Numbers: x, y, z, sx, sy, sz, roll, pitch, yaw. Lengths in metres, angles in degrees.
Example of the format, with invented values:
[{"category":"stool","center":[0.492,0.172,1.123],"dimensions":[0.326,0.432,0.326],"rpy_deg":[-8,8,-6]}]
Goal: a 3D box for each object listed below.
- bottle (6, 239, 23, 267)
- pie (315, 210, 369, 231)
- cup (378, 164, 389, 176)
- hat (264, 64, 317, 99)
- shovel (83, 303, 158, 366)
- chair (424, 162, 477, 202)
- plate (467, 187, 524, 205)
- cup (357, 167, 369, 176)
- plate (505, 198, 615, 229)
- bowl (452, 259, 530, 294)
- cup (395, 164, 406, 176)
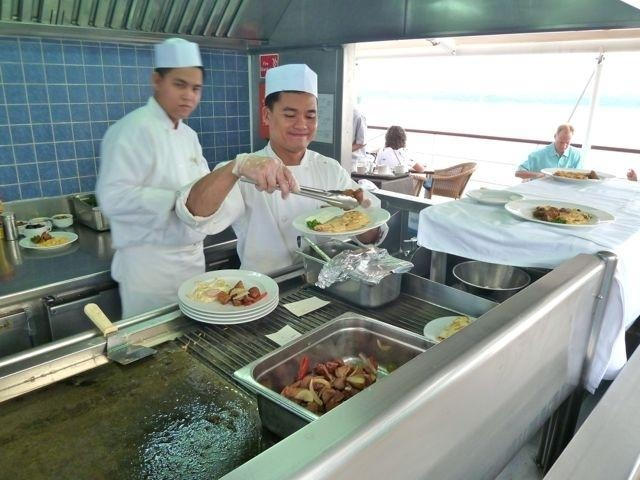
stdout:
[{"category":"bottle","center":[-1.647,0.072,2.325],"dimensions":[0.046,0.036,0.157],"rpy_deg":[3,24,-33]},{"category":"pie","center":[0.104,-0.098,1.747],"dimensions":[0.169,0.022,0.116],"rpy_deg":[-11,15,-33]},{"category":"cup","center":[0.643,-0.704,4.378],"dimensions":[0.125,0.072,0.104],"rpy_deg":[4,17,6]},{"category":"hat","center":[-0.106,-0.663,1.822],"dimensions":[0.171,0.141,0.078],"rpy_deg":[18,17,8]},{"category":"shovel","center":[-0.526,0.253,1.134],"dimensions":[0.252,0.021,0.102],"rpy_deg":[32,30,26]},{"category":"chair","center":[1.656,-0.719,5.634],"dimensions":[0.707,0.438,0.609],"rpy_deg":[5,5,-24]},{"category":"plate","center":[0.719,-0.181,1.783],"dimensions":[0.204,0.031,0.224],"rpy_deg":[15,25,31]},{"category":"cup","center":[0.426,-0.700,4.360],"dimensions":[0.074,0.067,0.116],"rpy_deg":[4,5,43]},{"category":"plate","center":[0.831,-0.096,1.528],"dimensions":[0.278,0.046,0.323],"rpy_deg":[-14,26,-34]},{"category":"bowl","center":[0.671,0.142,1.658],"dimensions":[0.172,0.046,0.153],"rpy_deg":[-4,19,-24]},{"category":"cup","center":[0.828,-0.730,4.540],"dimensions":[0.125,0.070,0.108],"rpy_deg":[-2,17,-4]}]
